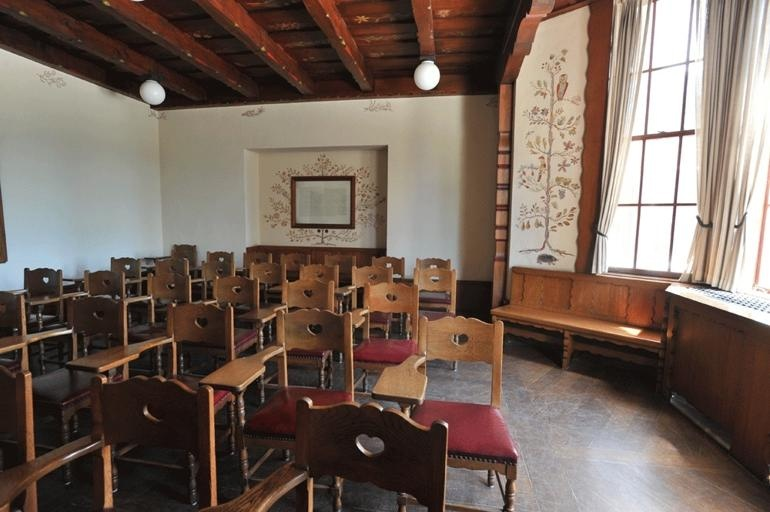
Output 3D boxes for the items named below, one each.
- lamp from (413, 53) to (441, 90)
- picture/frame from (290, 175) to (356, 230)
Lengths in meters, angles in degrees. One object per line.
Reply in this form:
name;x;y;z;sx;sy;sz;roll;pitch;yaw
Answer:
lamp;0.476;-2.109;5.994;0.254;0.346;0.245;0;5;15
picture/frame;-0.856;-0.783;7.484;0.870;0.620;0.064;1;4;11
